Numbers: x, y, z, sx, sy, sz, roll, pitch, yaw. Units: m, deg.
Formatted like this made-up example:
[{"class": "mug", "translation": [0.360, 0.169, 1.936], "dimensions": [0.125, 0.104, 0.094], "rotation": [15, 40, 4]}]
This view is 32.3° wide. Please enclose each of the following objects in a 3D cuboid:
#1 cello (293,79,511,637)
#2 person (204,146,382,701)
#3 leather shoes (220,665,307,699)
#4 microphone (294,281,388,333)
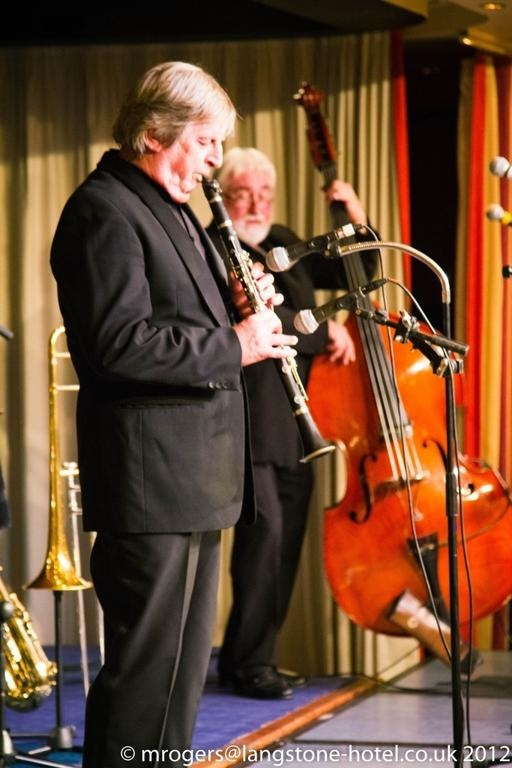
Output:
[{"class": "cello", "translation": [0.491, -0.059, 2.897], "dimensions": [0.719, 1.759, 0.444], "rotation": [0, -6, 2]}, {"class": "person", "translation": [0.081, 0.107, 3.281], "dimensions": [0.320, 1.865, 0.737], "rotation": [1, -1, 29]}, {"class": "leather shoes", "translation": [-0.002, 1.033, 3.132], "dimensions": [0.338, 0.126, 0.113], "rotation": [-2, -2, 20]}, {"class": "microphone", "translation": [0.216, -0.172, 2.025], "dimensions": [0.228, 0.105, 0.168], "rotation": [-4, -7, 33]}]
